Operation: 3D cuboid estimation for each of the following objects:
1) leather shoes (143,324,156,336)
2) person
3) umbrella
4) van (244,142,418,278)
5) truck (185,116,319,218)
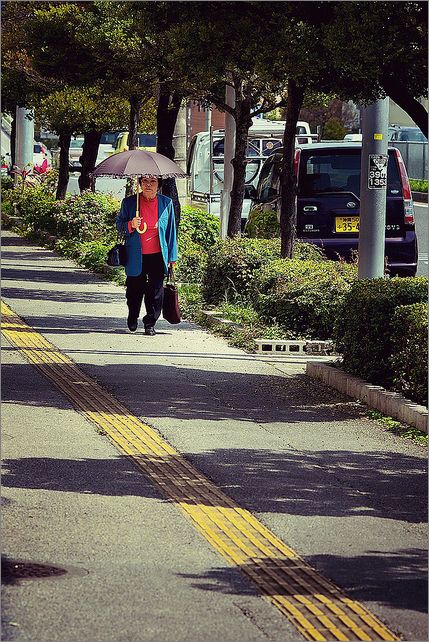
[{"bbox_3d":[-0.664,0.089,11.229,0.087,0.102,0.216,1,5,-2],"label":"leather shoes"},{"bbox_3d":[-0.688,-0.674,11.141,0.619,1.619,0.502,2,6,-7],"label":"person"},{"bbox_3d":[-0.815,-1.478,11.779,0.843,0.650,0.826,5,3,36],"label":"umbrella"},{"bbox_3d":[1.656,-1.564,14.292,1.375,1.320,2.573,-1,10,-5],"label":"van"},{"bbox_3d":[0.567,-3.332,27.071,2.424,2.595,4.347,4,7,-13],"label":"truck"}]
